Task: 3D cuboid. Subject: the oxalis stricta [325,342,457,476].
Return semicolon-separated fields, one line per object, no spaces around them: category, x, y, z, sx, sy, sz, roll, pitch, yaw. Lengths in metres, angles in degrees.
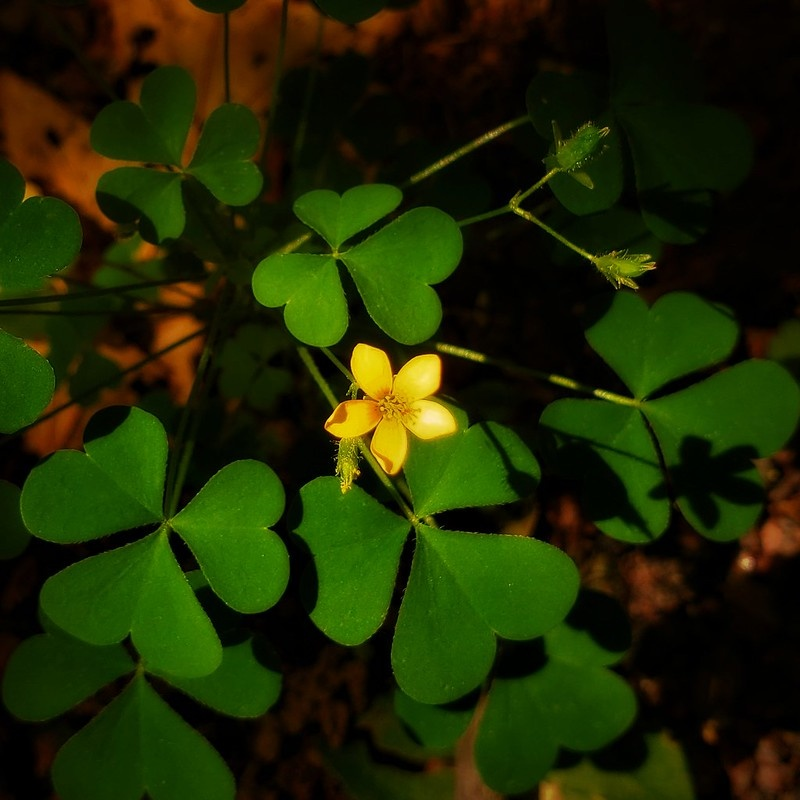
oxalis stricta;-0.026;0.016;2.269;0.327;0.103;0.312;-41;73;-12
